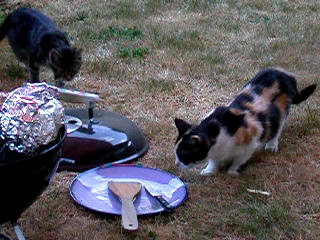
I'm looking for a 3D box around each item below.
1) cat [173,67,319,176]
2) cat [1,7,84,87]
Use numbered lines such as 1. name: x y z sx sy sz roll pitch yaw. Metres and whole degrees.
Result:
1. cat: 0.736 0.038 4.470 1.310 0.888 0.461 -6 28 -34
2. cat: -1.364 -0.843 5.840 0.441 0.678 1.178 -11 32 -40
